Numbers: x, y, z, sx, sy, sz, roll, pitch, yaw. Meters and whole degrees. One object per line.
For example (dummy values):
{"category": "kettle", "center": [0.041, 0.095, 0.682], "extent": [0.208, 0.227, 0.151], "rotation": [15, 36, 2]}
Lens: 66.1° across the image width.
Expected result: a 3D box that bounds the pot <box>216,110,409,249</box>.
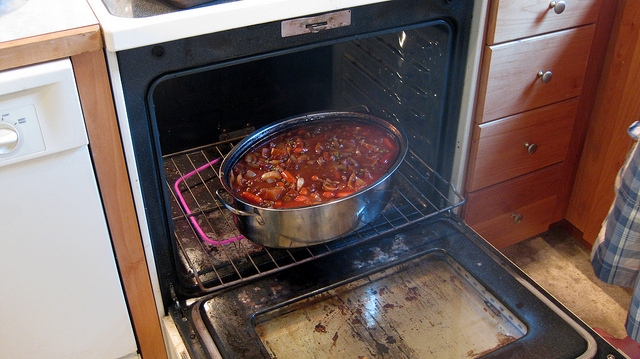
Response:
{"category": "pot", "center": [-0.006, -0.012, 1.995], "extent": [0.734, 0.636, 0.300], "rotation": [-13, -52, -4]}
